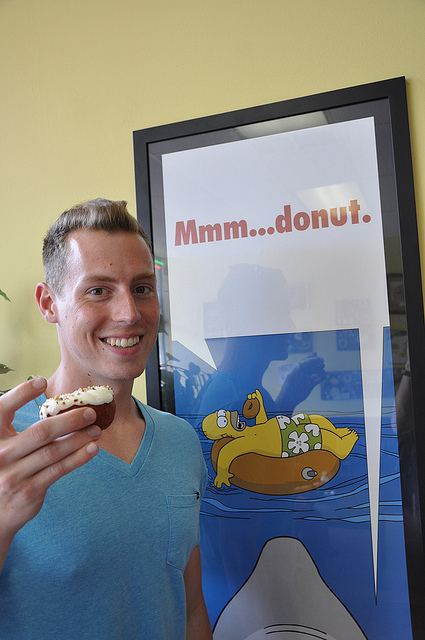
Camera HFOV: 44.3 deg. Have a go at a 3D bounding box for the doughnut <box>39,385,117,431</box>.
[{"bbox_3d":[-0.220,0.153,0.857,0.089,0.075,0.145,-3,1,9],"label":"doughnut"}]

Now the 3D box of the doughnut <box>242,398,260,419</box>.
[{"bbox_3d":[0.099,0.233,1.362,0.015,0.048,0.047,6,-19,-45],"label":"doughnut"}]
